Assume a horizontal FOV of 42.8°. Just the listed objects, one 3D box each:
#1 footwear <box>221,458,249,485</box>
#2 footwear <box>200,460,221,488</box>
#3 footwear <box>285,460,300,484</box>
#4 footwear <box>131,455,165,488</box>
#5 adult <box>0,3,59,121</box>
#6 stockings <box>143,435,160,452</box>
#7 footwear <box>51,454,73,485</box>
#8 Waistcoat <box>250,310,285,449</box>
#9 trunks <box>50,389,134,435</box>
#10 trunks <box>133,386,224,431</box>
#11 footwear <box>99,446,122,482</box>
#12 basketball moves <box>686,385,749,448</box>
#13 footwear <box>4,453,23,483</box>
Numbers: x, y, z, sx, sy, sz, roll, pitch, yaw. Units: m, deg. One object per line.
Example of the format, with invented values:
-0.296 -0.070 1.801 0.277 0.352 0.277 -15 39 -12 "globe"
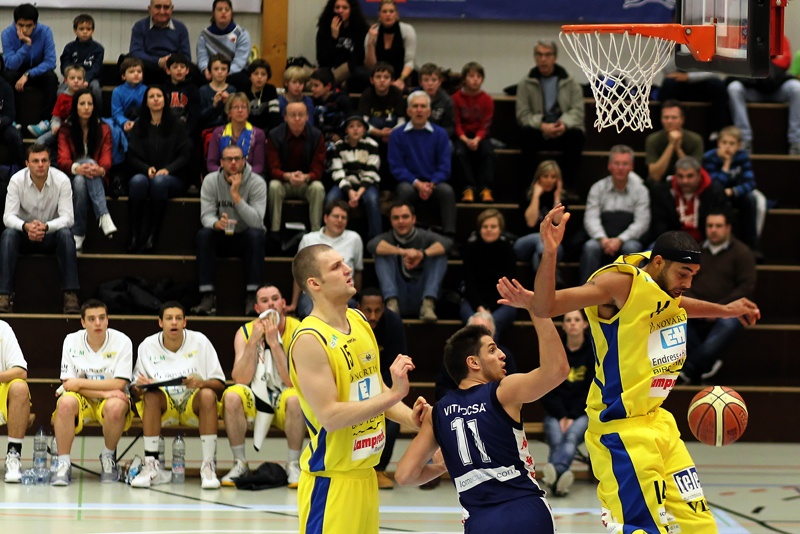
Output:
-1.852 2.243 11.347 0.290 0.274 0.183 1 -1 -9 "footwear"
-2.107 2.251 11.292 0.215 0.295 0.298 1 -1 -12 "footwear"
-1.200 2.264 11.346 0.118 0.260 0.192 2 -1 -14 "footwear"
-2.771 2.223 11.258 0.394 0.319 0.195 2 -1 -15 "footwear"
-5.312 -2.927 14.560 0.994 1.749 0.609 1 -1 4 "adult"
-2.753 1.920 11.267 0.151 0.171 0.156 2 -6 -38 "stockings"
-3.709 2.183 11.116 0.187 0.311 0.179 2 -1 -17 "footwear"
-1.572 1.308 11.549 0.316 1.361 0.239 10 -1 -31 "Waistcoat"
-3.526 1.629 11.771 0.860 0.321 0.803 -9 -16 33 "trunks"
-2.483 1.654 11.519 0.843 0.602 0.687 0 -7 -11 "trunks"
-3.233 2.152 11.339 0.206 0.369 0.158 2 -1 -17 "footwear"
3.031 1.269 9.490 0.597 0.660 0.619 -12 -18 24 "basketball moves"
-4.253 2.165 11.191 0.175 0.292 0.259 2 -1 -21 "footwear"
